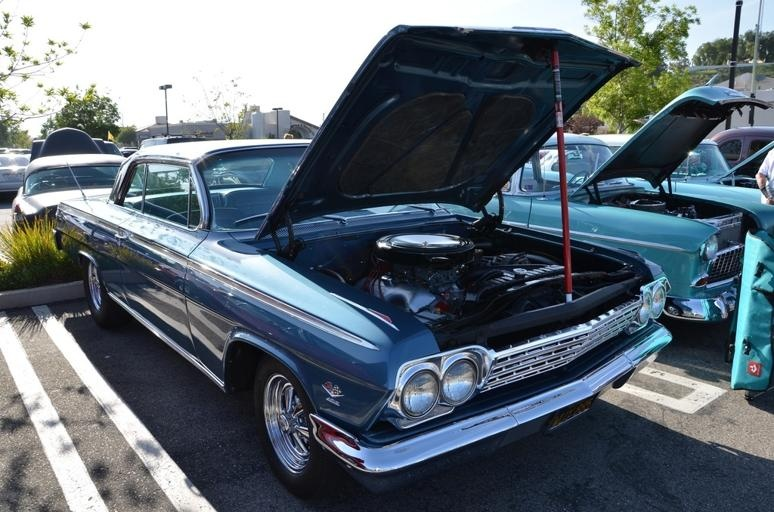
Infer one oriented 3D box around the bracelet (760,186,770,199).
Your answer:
[{"bbox_3d":[4.861,-0.799,6.339,0.084,0.034,0.113,15,51,-22],"label":"bracelet"}]
